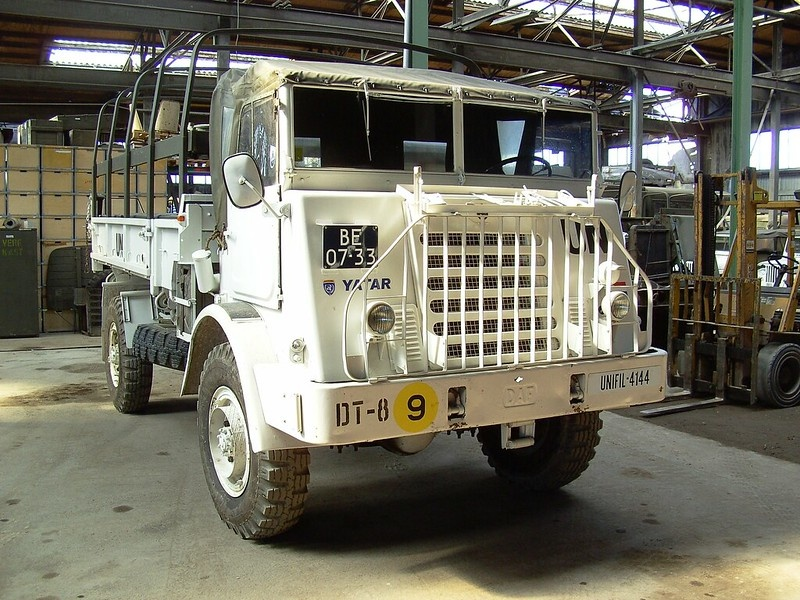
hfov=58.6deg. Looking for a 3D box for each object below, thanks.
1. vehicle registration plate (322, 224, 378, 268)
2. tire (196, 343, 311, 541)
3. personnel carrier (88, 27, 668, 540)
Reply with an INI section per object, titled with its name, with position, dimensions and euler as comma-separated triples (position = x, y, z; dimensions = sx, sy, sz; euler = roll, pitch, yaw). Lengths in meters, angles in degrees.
[vehicle registration plate]
position = -0.360, -0.384, 5.041
dimensions = 0.274, 0.236, 0.058
euler = 0, -1, -19
[tire]
position = -1.232, 1.099, 5.800
dimensions = 0.471, 1.622, 1.399
euler = -6, 7, -39
[personnel carrier]
position = -0.783, -0.372, 8.765
dimensions = 3.278, 4.769, 8.108
euler = -3, 3, -23
